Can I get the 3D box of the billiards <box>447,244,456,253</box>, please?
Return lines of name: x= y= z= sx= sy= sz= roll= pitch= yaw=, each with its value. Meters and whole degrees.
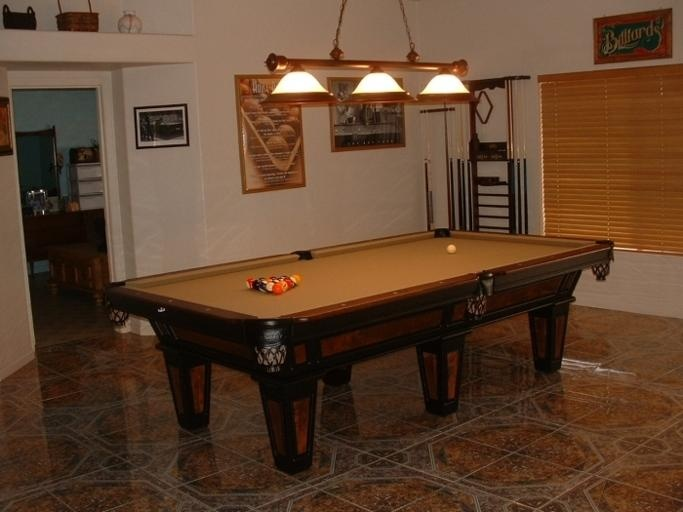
billiards: x=0.894 y=-0.058 z=4.435 sx=0.053 sy=0.045 sz=0.047 roll=-13 pitch=47 yaw=-26

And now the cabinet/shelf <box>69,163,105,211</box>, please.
cabinet/shelf: x=-4.470 y=-1.243 z=9.902 sx=0.709 sy=0.724 sz=0.666 roll=-4 pitch=7 yaw=-20

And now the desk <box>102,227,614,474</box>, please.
desk: x=0.339 y=0.541 z=4.147 sx=3.455 sy=1.175 sz=1.660 roll=-10 pitch=13 yaw=-35

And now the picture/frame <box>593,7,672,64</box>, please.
picture/frame: x=3.127 y=-2.351 z=5.856 sx=0.798 sy=0.537 sz=0.065 roll=7 pitch=16 yaw=42
